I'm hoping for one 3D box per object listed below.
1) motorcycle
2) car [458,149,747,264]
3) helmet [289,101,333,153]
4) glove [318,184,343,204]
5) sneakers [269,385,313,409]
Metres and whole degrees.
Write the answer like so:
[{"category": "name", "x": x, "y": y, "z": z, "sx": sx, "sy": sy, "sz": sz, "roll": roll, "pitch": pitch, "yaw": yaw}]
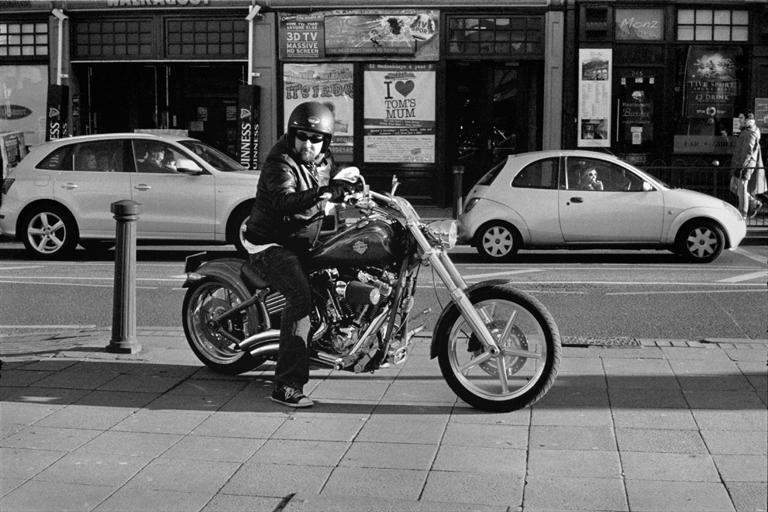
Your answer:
[{"category": "motorcycle", "x": -0.224, "y": 0.209, "z": 5.916, "sx": 3.105, "sy": 1.823, "sz": 1.088, "roll": 4, "pitch": 11, "yaw": 17}, {"category": "car", "x": 3.713, "y": -0.834, "z": 13.501, "sx": 4.553, "sy": 1.842, "sz": 2.390, "roll": -2, "pitch": 4, "yaw": 4}, {"category": "helmet", "x": -0.569, "y": -1.080, "z": 5.839, "sx": 0.290, "sy": 0.337, "sz": 0.420, "roll": 5, "pitch": 46, "yaw": -9}, {"category": "glove", "x": -0.375, "y": -0.454, "z": 5.345, "sx": 0.186, "sy": 0.132, "sz": 0.128, "roll": 7, "pitch": 10, "yaw": 39}, {"category": "sneakers", "x": -0.717, "y": 1.099, "z": 5.764, "sx": 0.363, "sy": 0.153, "sz": 0.139, "roll": 7, "pitch": 12, "yaw": 18}]
